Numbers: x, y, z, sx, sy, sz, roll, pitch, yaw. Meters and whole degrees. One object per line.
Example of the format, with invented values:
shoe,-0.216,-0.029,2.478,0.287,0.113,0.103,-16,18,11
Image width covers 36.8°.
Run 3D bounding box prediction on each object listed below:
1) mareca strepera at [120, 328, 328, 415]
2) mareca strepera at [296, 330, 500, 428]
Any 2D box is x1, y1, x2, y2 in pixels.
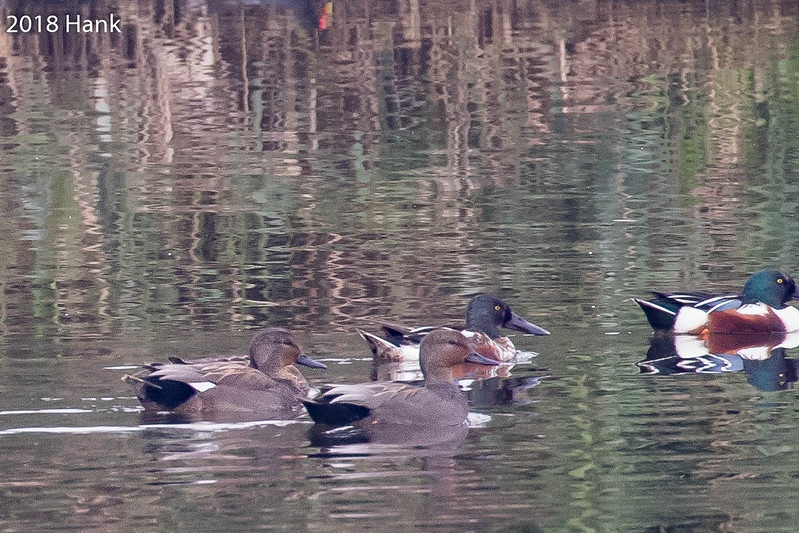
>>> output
mareca strepera,-1.994,1.230,13.509,2.606,0.744,0.882,0,6,-22
mareca strepera,-0.018,1.201,12.784,0.928,1.010,1.889,-1,-1,39
